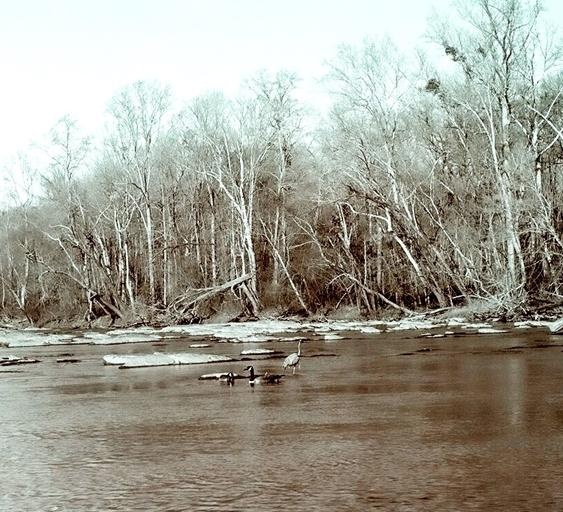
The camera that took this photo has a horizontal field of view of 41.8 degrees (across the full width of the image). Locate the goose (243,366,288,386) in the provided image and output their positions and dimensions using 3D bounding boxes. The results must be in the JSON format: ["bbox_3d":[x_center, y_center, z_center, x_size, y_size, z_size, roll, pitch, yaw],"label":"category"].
[{"bbox_3d":[-0.321,2.458,14.861,0.850,0.606,0.315,1,-18,-2],"label":"goose"}]
